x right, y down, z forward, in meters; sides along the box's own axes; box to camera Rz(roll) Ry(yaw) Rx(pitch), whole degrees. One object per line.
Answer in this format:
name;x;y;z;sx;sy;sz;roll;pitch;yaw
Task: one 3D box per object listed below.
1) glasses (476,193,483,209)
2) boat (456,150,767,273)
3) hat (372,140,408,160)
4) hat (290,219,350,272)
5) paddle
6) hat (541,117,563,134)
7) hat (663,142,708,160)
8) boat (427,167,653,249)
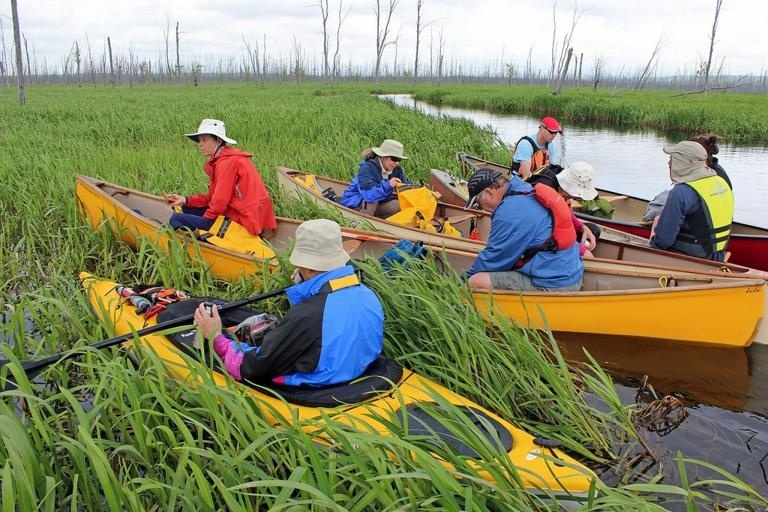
glasses;1.046;-0.605;6.523;0.061;0.145;0.112;-8;5;25
boat;3.235;-0.650;9.270;1.094;0.759;5.106;-8;27;-46
hat;0.103;-1.569;8.589;0.360;0.138;0.350;12;26;-14
hat;-0.534;-0.153;5.038;0.612;0.390;0.671;4;19;-1
paddle;-1.743;0.697;5.274;3.148;0.371;0.428;-14;25;-3
hat;2.766;-2.149;9.602;0.255;0.250;0.635;11;16;26
hat;3.477;-1.230;6.789;0.290;0.160;0.429;-10;19;-44
boat;1.925;-0.594;7.594;2.992;0.444;0.651;26;28;35
